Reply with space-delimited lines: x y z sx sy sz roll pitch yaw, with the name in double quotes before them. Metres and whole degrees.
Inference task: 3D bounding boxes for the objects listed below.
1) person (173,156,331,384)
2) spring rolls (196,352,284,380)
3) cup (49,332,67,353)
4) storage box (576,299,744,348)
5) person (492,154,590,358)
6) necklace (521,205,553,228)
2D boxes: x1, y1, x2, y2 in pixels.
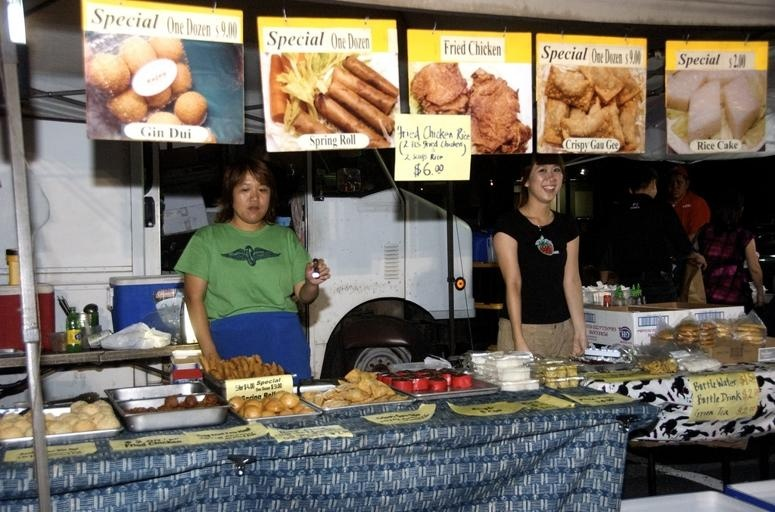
"person" -0.885 0.530 4.452 0.982 2.334 0.927 -4 9 -26
"spring rolls" -0.900 0.673 3.918 0.388 0.156 0.278 3 0 -33
"cup" -2.754 0.721 5.378 0.104 0.177 0.200 -3 1 -32
"storage box" 2.304 0.553 5.528 1.185 0.410 0.634 0 5 -25
"person" 1.180 0.013 4.970 0.687 1.510 0.322 -3 0 -31
"necklace" 1.172 -0.315 4.965 0.272 0.144 0.096 2 -30 -2
